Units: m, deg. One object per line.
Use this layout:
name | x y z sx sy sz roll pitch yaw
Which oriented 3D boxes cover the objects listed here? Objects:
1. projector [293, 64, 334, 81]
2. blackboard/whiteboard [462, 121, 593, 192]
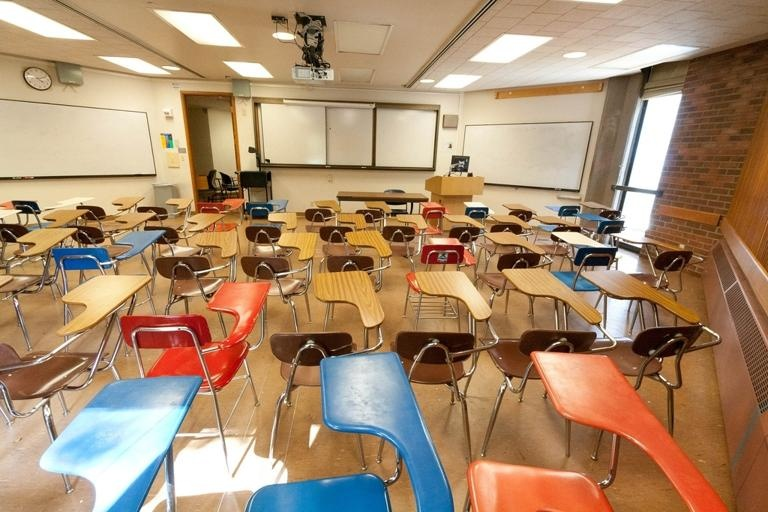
projector | -1.055 -2.664 7.243 0.575 0.221 0.173 -1 13 -10
blackboard/whiteboard | 3.212 -2.146 10.702 2.127 0.986 0.093 9 19 24
